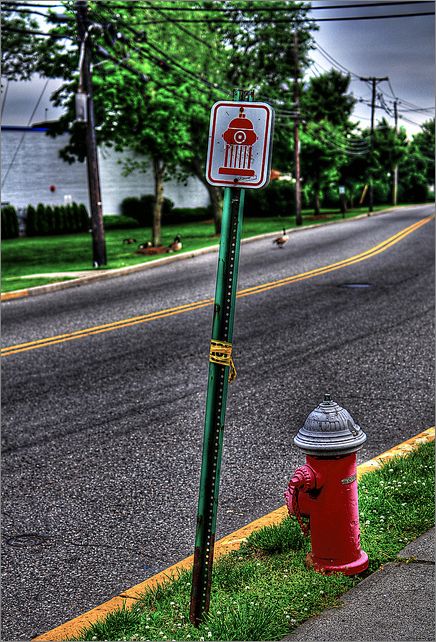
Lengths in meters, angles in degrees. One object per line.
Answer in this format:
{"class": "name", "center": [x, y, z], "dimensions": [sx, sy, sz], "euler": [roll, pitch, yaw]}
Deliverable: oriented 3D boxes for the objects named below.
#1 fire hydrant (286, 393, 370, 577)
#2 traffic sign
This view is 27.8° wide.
{"class": "fire hydrant", "center": [0.613, 0.910, 4.970], "dimensions": [0.467, 0.993, 0.357], "euler": [0, 10, 9]}
{"class": "traffic sign", "center": [0.104, -0.917, 4.495], "dimensions": [0.354, 0.453, 0.182], "euler": [-1, 10, 4]}
